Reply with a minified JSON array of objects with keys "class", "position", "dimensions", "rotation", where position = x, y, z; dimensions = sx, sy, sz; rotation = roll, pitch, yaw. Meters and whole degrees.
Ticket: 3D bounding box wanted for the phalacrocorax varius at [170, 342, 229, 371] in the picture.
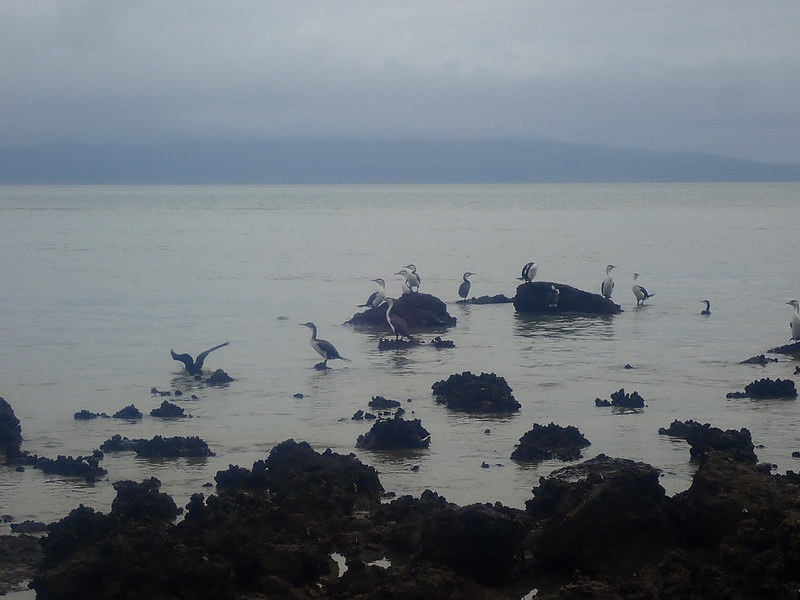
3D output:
[{"class":"phalacrocorax varius","position":[-5.041,1.414,40.792],"dimensions":[1.063,0.410,0.952],"rotation":[-1,1,-7]}]
